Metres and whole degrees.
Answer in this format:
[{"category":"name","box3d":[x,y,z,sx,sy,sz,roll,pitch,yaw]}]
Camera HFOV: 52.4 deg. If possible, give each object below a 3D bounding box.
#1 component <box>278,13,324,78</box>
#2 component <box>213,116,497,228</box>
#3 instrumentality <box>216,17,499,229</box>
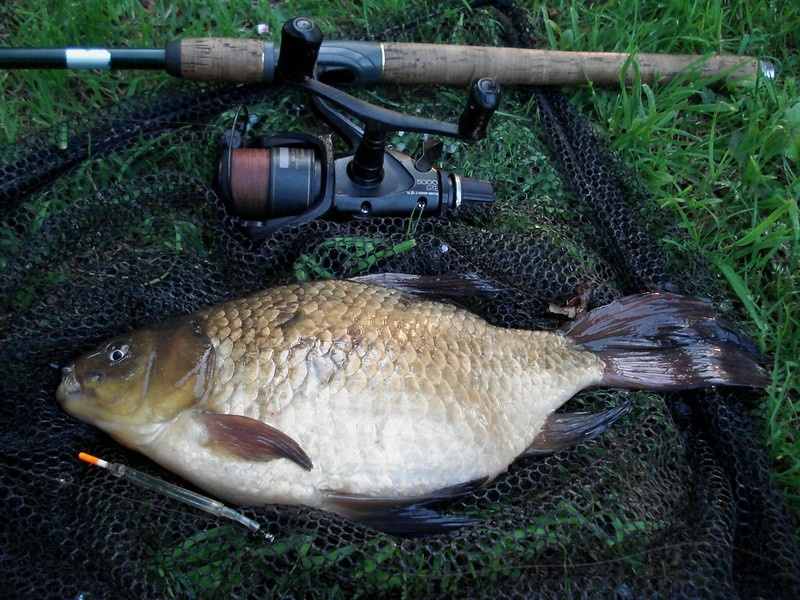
[{"category":"component","box3d":[-0.339,-0.781,2.691,0.149,0.430,0.156,-6,78,-6]},{"category":"component","box3d":[-0.162,-0.448,2.868,0.899,0.258,0.342,1,32,-8]},{"category":"instrumentality","box3d":[-0.172,-0.595,2.789,1.055,0.517,0.567,6,59,-6]}]
